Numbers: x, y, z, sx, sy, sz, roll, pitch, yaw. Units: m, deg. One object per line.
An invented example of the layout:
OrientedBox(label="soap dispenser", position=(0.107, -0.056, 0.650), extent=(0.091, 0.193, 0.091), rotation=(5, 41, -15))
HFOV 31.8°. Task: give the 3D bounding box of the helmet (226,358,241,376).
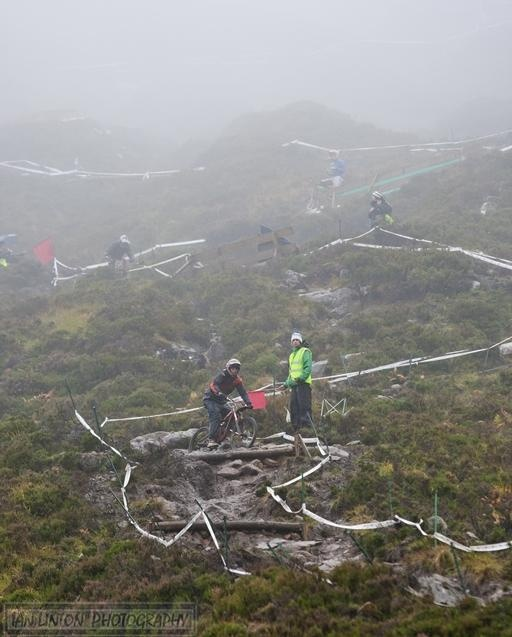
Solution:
OrientedBox(label="helmet", position=(-0.482, 1.136, 20.338), extent=(0.314, 0.426, 0.391), rotation=(3, 0, -19))

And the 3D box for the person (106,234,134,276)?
OrientedBox(label="person", position=(-5.739, -2.517, 37.697), extent=(0.869, 0.659, 2.101), rotation=(3, 52, 12))

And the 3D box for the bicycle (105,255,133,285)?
OrientedBox(label="bicycle", position=(-5.640, -2.012, 36.950), extent=(0.991, 0.536, 4.735), rotation=(-6, 14, -7))

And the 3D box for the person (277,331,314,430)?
OrientedBox(label="person", position=(0.970, 1.467, 19.928), extent=(0.546, 2.063, 0.933), rotation=(-6, 13, -12))

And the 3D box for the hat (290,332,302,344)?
OrientedBox(label="hat", position=(0.906, 0.500, 20.134), extent=(0.196, 0.283, 0.274), rotation=(-11, 7, 4))

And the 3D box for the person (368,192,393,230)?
OrientedBox(label="person", position=(5.371, -4.662, 38.728), extent=(0.847, 1.444, 1.660), rotation=(-4, 13, 1))

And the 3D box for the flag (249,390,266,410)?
OrientedBox(label="flag", position=(0.035, 1.903, 20.809), extent=(0.444, 0.412, 0.347), rotation=(-1, -4, 4))
